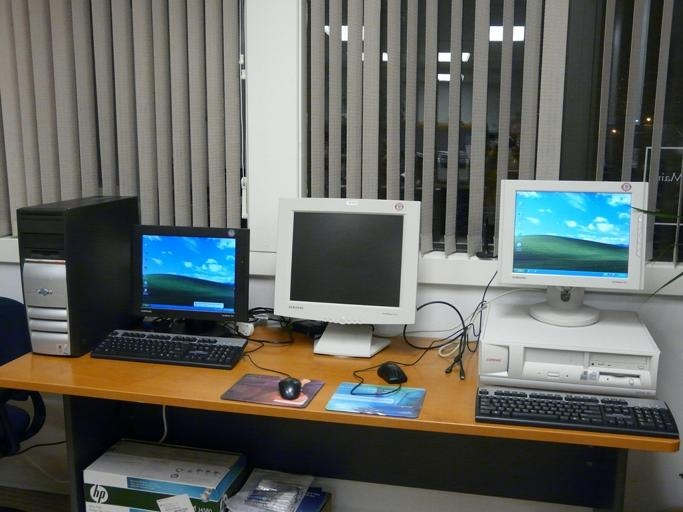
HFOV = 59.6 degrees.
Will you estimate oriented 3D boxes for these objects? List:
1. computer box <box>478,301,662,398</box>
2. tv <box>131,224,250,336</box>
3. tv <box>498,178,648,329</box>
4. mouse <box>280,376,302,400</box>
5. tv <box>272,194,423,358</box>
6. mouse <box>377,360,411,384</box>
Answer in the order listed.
[{"bbox_3d":[0.809,0.347,2.198,0.584,0.222,0.356,1,9,13],"label":"computer box"},{"bbox_3d":[-0.635,0.096,2.512,0.477,0.436,0.258,2,2,6],"label":"tv"},{"bbox_3d":[0.869,-0.020,2.238,0.611,0.613,0.345,2,4,12],"label":"tv"},{"bbox_3d":[-0.178,0.464,2.079,0.067,0.062,0.066,0,-3,4],"label":"mouse"},{"bbox_3d":[0.022,0.087,2.433,0.677,0.673,0.259,2,5,10],"label":"tv"},{"bbox_3d":[0.189,0.441,2.227,0.088,0.051,0.116,-9,12,-40],"label":"mouse"}]
